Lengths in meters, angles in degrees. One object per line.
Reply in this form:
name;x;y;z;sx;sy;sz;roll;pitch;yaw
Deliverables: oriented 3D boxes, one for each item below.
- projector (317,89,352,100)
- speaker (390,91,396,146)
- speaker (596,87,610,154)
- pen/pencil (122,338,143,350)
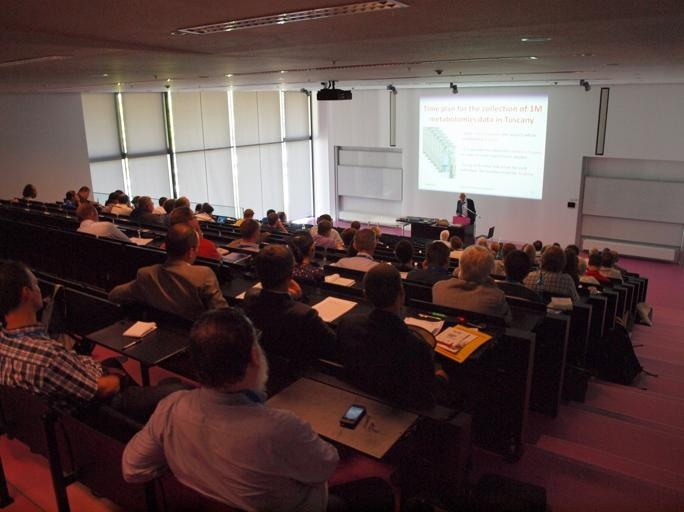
projector;-0.278;-3.075;9.019;0.521;0.182;0.466;-11;18;-39
speaker;1.536;-4.231;14.566;0.203;1.714;0.213;2;5;28
speaker;6.376;-3.286;11.674;0.262;1.592;0.156;5;12;22
pen/pencil;-1.372;0.575;3.104;0.029;0.029;0.213;3;10;20
